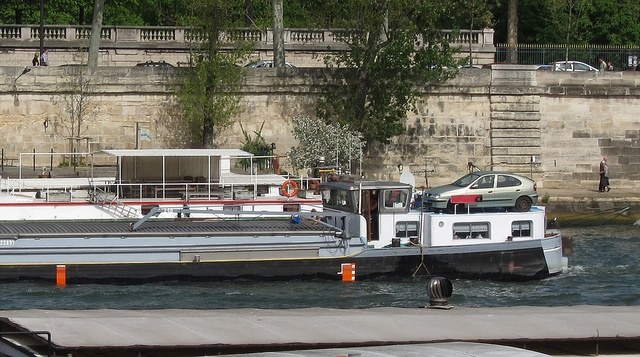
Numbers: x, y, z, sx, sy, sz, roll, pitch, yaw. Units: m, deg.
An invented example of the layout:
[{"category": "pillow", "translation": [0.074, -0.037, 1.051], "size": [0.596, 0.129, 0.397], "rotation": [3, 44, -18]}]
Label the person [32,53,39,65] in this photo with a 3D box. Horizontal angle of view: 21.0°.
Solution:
[{"category": "person", "translation": [-17.175, -7.134, 104.224], "size": [0.388, 0.777, 1.848], "rotation": [-1, 2, -9]}]

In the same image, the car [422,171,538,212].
[{"category": "car", "translation": [8.605, 0.640, 91.606], "size": [5.316, 1.550, 2.483], "rotation": [1, 0, -5]}]
